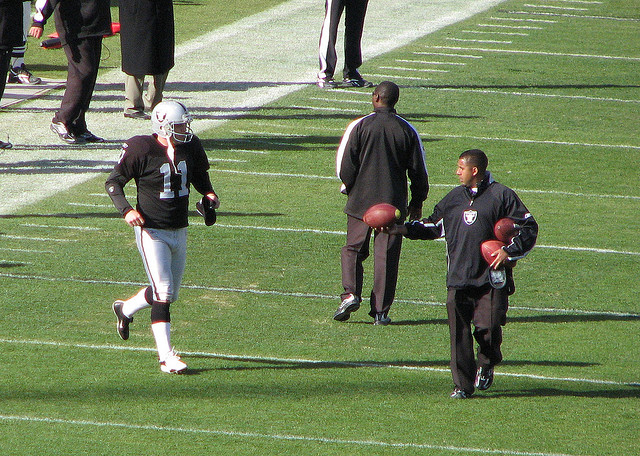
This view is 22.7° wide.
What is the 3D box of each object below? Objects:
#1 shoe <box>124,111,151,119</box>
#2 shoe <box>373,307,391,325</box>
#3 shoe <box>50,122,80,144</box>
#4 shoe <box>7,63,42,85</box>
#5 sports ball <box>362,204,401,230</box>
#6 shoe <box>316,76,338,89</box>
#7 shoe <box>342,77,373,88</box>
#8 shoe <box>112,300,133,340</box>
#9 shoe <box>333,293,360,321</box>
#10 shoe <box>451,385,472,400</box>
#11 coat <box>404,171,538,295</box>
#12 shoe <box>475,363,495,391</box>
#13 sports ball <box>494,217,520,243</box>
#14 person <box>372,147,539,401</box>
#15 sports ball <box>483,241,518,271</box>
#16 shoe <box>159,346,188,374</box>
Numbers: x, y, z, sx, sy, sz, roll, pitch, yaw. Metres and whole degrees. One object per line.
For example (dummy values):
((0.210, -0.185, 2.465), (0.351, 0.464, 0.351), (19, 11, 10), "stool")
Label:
((-2.701, -1.679, 24.194), (0.438, 0.129, 0.131), (0, 9, 10), "shoe")
((0.731, 1.052, 18.590), (0.117, 0.161, 0.269), (8, 15, 23), "shoe")
((-3.623, -1.341, 22.961), (0.173, 0.471, 0.204), (-60, 7, -34), "shoe")
((-4.684, -2.483, 26.241), (0.716, 0.282, 0.233), (3, 14, 12), "shoe")
((0.679, -0.103, 17.777), (0.393, 0.214, 0.231), (-13, -27, 17), "sports ball")
((0.148, -2.407, 26.703), (0.342, 0.207, 0.235), (2, 9, 8), "shoe")
((0.654, -2.400, 26.656), (0.519, 0.182, 0.156), (0, 36, -1), "shoe")
((-2.188, 1.036, 17.960), (0.185, 0.471, 0.282), (-1, 10, -7), "shoe")
((0.312, 0.926, 18.568), (0.190, 0.195, 0.429), (26, -50, -29), "shoe")
((1.520, 1.779, 17.270), (0.288, 0.158, 0.087), (-3, 24, -6), "shoe")
((1.649, 0.051, 17.427), (1.687, 1.173, 0.704), (1, 5, 39), "coat")
((1.800, 1.632, 17.369), (0.149, 0.316, 0.155), (6, 4, 7), "shoe")
((2.017, 0.028, 17.178), (0.260, 0.264, 0.116), (1, 10, 3), "sports ball")
((1.709, 0.516, 17.266), (1.227, 2.667, 0.562), (1, 10, 2), "person")
((1.936, 0.302, 17.137), (0.210, 0.354, 0.268), (-41, 11, 20), "sports ball")
((-1.542, 1.433, 17.475), (0.153, 0.263, 0.433), (-14, 7, -41), "shoe")
